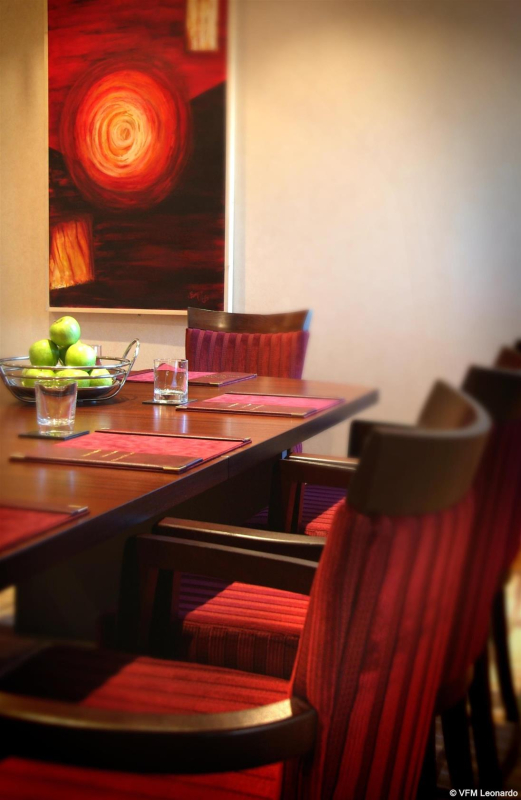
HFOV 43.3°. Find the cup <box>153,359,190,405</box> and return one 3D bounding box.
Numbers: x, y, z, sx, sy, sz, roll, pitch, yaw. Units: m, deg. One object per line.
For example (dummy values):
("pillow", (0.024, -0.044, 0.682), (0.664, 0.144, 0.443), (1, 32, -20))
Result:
("cup", (-0.189, -0.046, 1.556), (0.098, 0.111, 0.098), (1, 3, 0))

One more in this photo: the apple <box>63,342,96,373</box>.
("apple", (-0.406, -0.094, 1.484), (0.081, 0.100, 0.088), (0, 11, -16))

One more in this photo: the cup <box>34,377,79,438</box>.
("cup", (-0.344, 0.013, 1.158), (0.092, 0.112, 0.093), (2, 5, 0))

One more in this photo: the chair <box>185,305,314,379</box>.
("chair", (-0.029, -0.174, 2.650), (0.351, 0.494, 0.339), (3, -2, 18))

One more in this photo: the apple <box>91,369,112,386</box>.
("apple", (-0.366, -0.047, 1.506), (0.038, 0.039, 0.040), (-15, 54, 4))

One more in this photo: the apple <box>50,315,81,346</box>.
("apple", (-0.459, -0.160, 1.548), (0.070, 0.069, 0.070), (2, -10, -16))

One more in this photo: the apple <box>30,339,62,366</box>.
("apple", (-0.508, -0.112, 1.554), (0.060, 0.064, 0.061), (4, 6, 20))

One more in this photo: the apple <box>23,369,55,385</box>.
("apple", (-0.446, -0.047, 1.319), (0.035, 0.034, 0.035), (4, 12, 17))
